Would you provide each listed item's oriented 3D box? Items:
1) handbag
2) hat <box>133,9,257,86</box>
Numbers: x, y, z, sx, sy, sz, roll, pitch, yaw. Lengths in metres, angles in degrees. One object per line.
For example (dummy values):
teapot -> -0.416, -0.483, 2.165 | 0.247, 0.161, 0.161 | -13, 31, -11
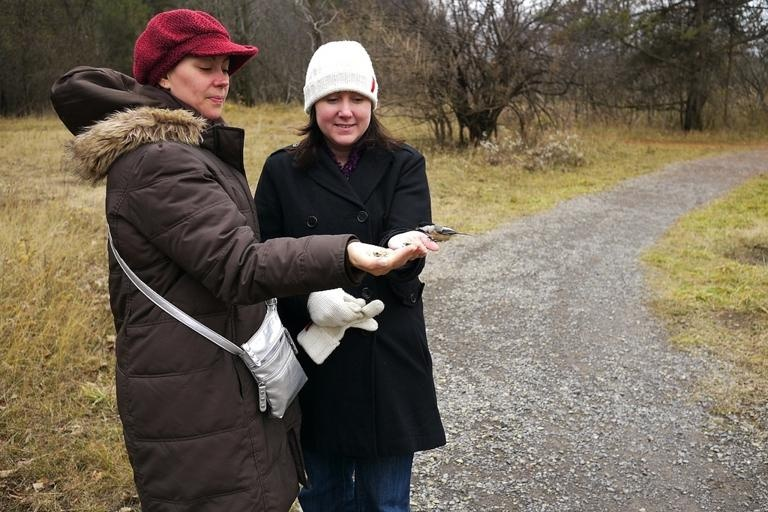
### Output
handbag -> -0.855, 0.831, 5.854 | 0.249, 0.842, 0.530 | -5, 26, 29
hat -> -1.493, -1.666, 5.910 | 0.730, 0.431, 0.577 | -11, 3, 11
